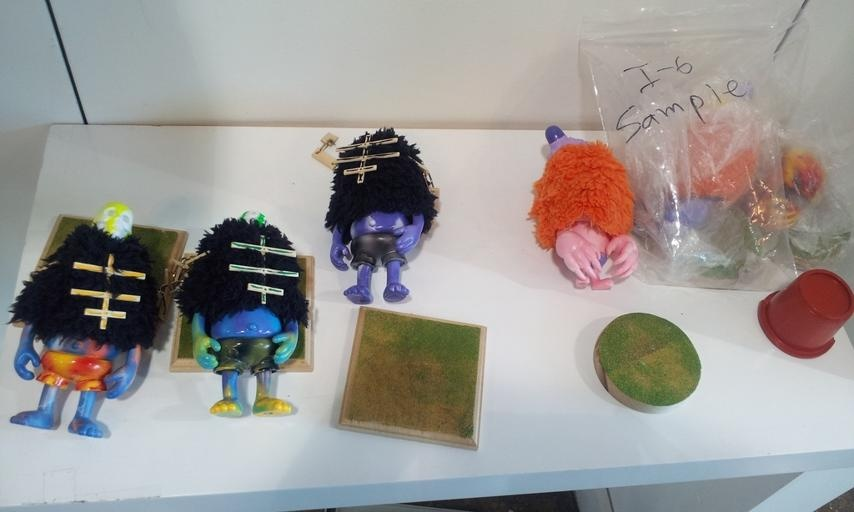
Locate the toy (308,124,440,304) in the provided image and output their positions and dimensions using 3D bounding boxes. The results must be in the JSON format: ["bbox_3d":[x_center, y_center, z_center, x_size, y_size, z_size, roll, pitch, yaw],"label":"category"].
[{"bbox_3d":[-0.139,-0.124,1.975,0.326,0.514,0.150,4,-1,-1],"label":"toy"}]

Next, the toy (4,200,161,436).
[{"bbox_3d":[-0.960,0.169,1.865,0.378,0.700,0.230,4,-1,-21],"label":"toy"}]

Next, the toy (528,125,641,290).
[{"bbox_3d":[0.481,-0.131,2.040,0.311,0.451,0.192,-11,-8,8],"label":"toy"}]

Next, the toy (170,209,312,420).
[{"bbox_3d":[-0.518,0.157,1.841,0.364,0.570,0.165,4,-1,-9],"label":"toy"}]

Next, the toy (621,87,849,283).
[{"bbox_3d":[0.918,-0.191,1.983,0.605,0.589,0.160,-9,2,-2],"label":"toy"}]
